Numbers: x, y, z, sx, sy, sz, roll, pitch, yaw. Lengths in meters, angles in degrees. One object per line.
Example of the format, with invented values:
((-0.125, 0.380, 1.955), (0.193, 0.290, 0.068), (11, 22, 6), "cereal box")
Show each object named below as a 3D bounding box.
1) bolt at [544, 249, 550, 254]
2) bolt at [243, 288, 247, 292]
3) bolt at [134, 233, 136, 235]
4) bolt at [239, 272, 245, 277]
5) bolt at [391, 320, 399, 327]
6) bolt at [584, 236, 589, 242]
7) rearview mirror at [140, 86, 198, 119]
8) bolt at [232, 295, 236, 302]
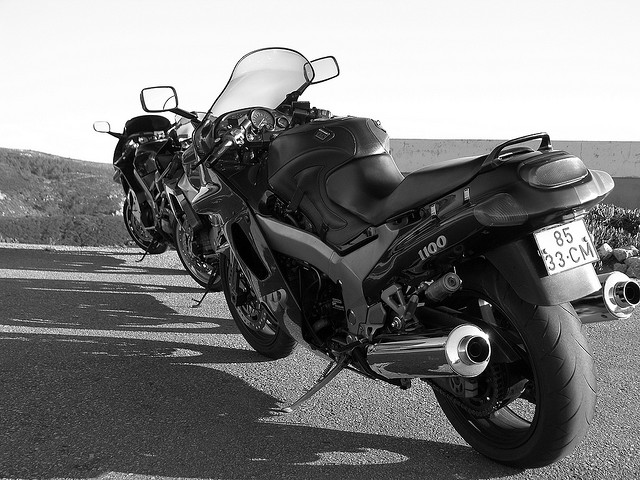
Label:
((0.906, 0.044, 2.015), (0.011, 0.015, 0.024), (-1, 7, 10), "bolt")
((-0.514, 0.339, 3.480), (0.012, 0.016, 0.026), (-4, 15, -25), "bolt")
((-2.480, -0.091, 6.796), (0.014, 0.018, 0.029), (-10, 26, -38), "bolt")
((-0.525, 0.233, 3.421), (0.023, 0.031, 0.051), (-7, 25, -24), "bolt")
((0.348, 0.383, 2.328), (0.022, 0.008, 0.023), (-22, 4, -21), "bolt")
((1.101, -0.006, 2.090), (0.013, 0.019, 0.005), (-1, -12, -16), "bolt")
((-1.015, -0.942, 3.599), (0.325, 0.066, 0.246), (22, 50, 26), "rearview mirror")
((-0.601, 0.403, 3.547), (0.012, 0.040, 0.037), (-3, 4, -39), "bolt")
